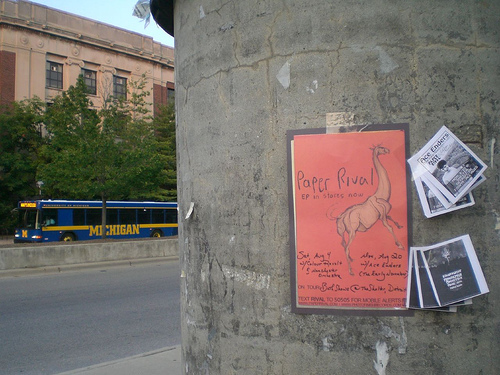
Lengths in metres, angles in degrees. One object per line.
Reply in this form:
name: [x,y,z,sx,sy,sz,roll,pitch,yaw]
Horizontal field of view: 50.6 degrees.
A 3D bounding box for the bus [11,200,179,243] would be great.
bus: [-7.690,1.928,28.576,2.118,2.627,9.156,-1,-3,41]
